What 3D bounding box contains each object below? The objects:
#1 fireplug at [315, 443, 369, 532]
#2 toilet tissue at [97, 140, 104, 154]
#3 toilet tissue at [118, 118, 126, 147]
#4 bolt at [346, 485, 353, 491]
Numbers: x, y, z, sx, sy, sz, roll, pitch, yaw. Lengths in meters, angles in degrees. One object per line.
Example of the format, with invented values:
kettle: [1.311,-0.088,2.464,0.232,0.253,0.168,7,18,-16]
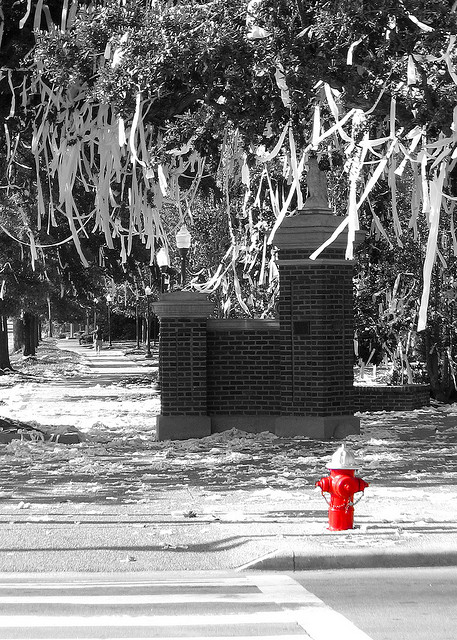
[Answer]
fireplug: [0.812,1.199,8.676,0.297,0.621,0.302,1,6,12]
toilet tissue: [-1.253,-1.704,11.933,0.044,0.128,0.084,0,4,-5]
toilet tissue: [-0.969,-1.708,10.953,0.044,0.231,0.120,0,4,-1]
bolt: [0.856,1.182,8.562,0.035,0.045,0.010,0,2,-7]
